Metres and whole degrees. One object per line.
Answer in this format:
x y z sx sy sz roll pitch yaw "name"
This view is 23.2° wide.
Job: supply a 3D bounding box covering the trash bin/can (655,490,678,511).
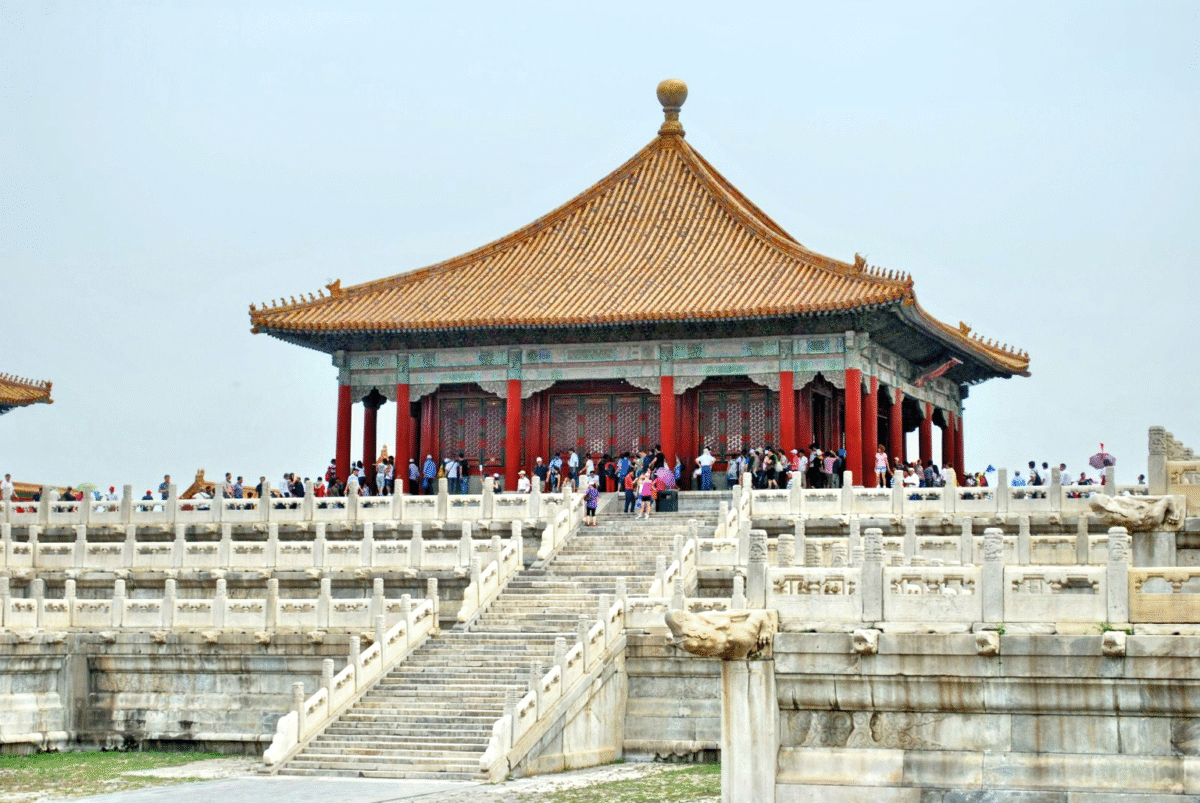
1.491 2.257 66.620 0.457 0.441 0.445 3 -10 -5 "trash bin/can"
